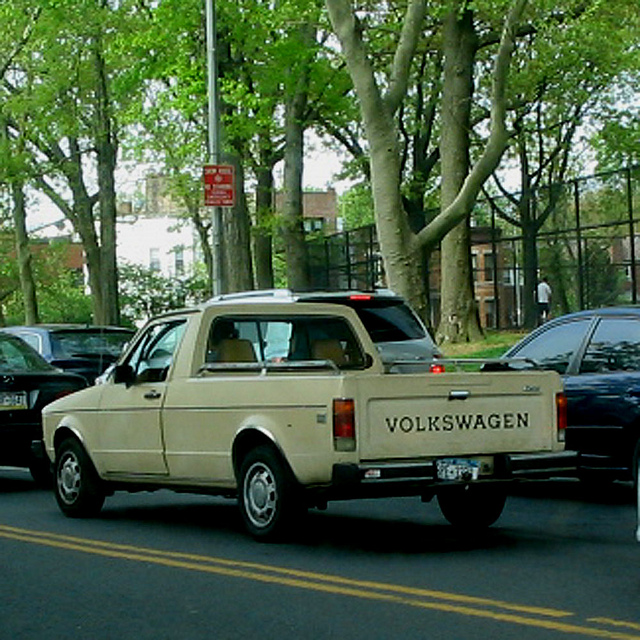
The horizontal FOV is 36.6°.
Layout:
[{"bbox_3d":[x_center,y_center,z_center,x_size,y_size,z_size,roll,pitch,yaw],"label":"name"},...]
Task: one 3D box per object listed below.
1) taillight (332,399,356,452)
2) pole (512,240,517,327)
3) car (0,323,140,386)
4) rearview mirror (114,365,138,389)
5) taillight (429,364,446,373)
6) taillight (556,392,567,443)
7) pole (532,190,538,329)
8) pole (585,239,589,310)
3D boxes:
[{"bbox_3d":[0.154,0.703,6.376,0.149,0.351,0.099,-1,-2,3],"label":"taillight"},{"bbox_3d":[6.126,-1.134,30.524,0.099,2.702,0.548,-1,-2,12],"label":"pole"},{"bbox_3d":[-3.315,0.563,13.703,0.953,0.750,1.991,1,1,-33],"label":"car"},{"bbox_3d":[-1.680,0.493,8.306,0.147,0.194,0.202,1,11,-22],"label":"rearview mirror"},{"bbox_3d":[1.215,0.515,10.014,0.089,0.095,0.180,1,11,-2],"label":"taillight"},{"bbox_3d":[1.793,0.729,7.186,0.044,0.372,0.162,-2,-3,26],"label":"taillight"},{"bbox_3d":[6.461,-1.815,29.247,0.114,4.012,0.603,-1,-2,12],"label":"pole"},{"bbox_3d":[7.368,-1.350,26.765,0.094,1.809,0.312,-1,-2,15],"label":"pole"}]
